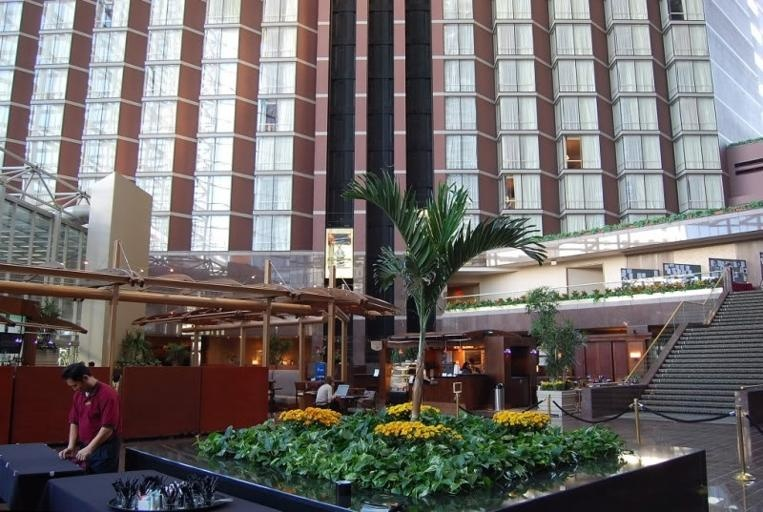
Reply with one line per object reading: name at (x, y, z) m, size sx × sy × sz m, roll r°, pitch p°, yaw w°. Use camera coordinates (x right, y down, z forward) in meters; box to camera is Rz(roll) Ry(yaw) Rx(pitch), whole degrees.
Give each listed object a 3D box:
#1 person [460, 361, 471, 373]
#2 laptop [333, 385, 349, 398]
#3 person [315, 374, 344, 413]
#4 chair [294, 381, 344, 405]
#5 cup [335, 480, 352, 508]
person at (3.230, 4.363, 23.321) m, size 0.400 × 0.394 × 0.819 m, roll 2°, pitch -2°, yaw 11°
laptop at (-1.280, 4.146, 18.244) m, size 0.428 × 0.279 × 0.321 m, roll -1°, pitch -32°, yaw 24°
person at (-1.545, 4.075, 16.811) m, size 0.569 × 1.248 × 0.854 m, roll -5°, pitch -5°, yaw 34°
chair at (-1.900, 4.174, 18.116) m, size 1.205 × 1.075 × 1.275 m, roll -11°, pitch -15°, yaw 31°
cup at (-0.481, 2.949, 7.421) m, size 0.206 × 0.262 × 0.307 m, roll 2°, pitch -2°, yaw -3°
